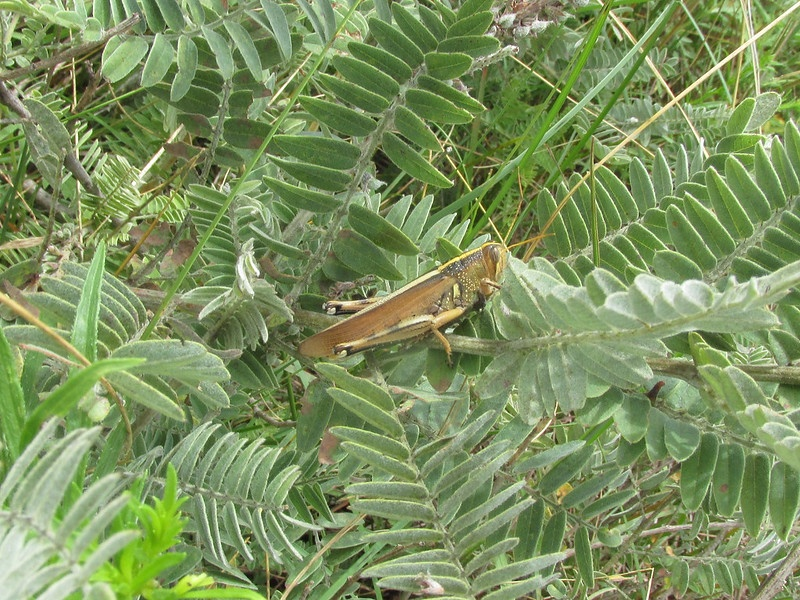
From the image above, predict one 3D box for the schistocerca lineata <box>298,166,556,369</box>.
[{"bbox_3d":[0.056,0.031,2.552,0.757,0.304,0.231,-21,40,5],"label":"schistocerca lineata"}]
